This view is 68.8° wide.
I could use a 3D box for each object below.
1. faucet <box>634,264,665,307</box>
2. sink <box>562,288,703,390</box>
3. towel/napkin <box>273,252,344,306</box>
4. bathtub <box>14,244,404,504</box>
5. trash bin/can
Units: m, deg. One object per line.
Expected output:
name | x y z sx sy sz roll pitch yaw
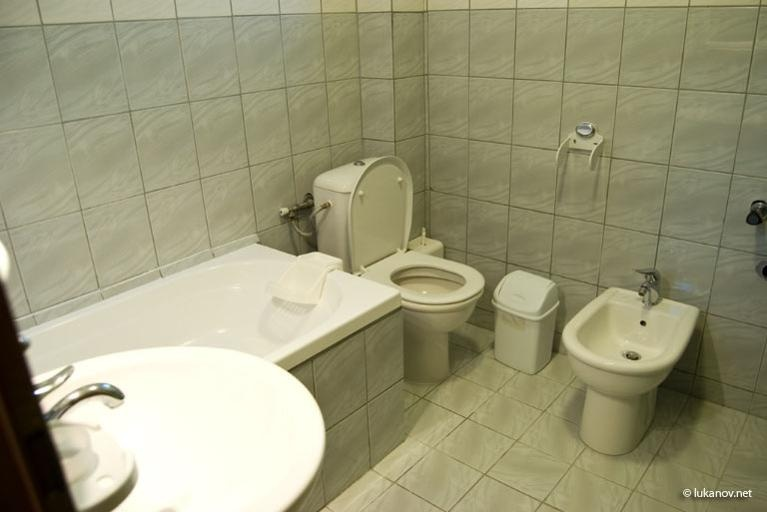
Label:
faucet | 1.408 0.146 2.955 0.103 0.252 0.249 9 32 43
sink | 1.207 0.415 2.783 0.447 0.273 0.637 20 34 37
towel/napkin | -0.372 0.114 2.858 0.262 0.122 0.374 8 38 28
bathtub | -0.629 0.415 2.629 1.078 0.844 1.641 18 28 33
trash bin/can | 0.835 0.391 3.261 0.364 0.584 0.353 21 36 39
